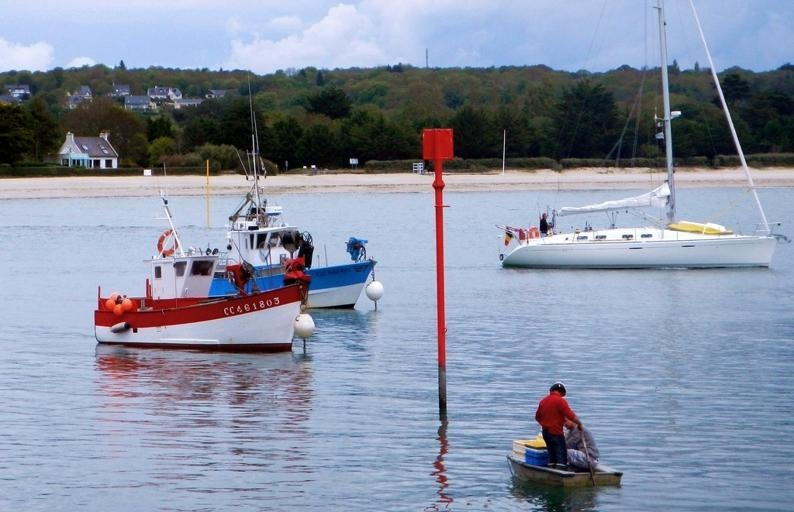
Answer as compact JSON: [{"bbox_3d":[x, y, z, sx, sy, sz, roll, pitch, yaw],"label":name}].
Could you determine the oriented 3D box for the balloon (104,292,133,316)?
[{"bbox_3d":[-18.394,3.251,109.184,1.807,1.387,0.862,-1,6,19],"label":"balloon"}]
